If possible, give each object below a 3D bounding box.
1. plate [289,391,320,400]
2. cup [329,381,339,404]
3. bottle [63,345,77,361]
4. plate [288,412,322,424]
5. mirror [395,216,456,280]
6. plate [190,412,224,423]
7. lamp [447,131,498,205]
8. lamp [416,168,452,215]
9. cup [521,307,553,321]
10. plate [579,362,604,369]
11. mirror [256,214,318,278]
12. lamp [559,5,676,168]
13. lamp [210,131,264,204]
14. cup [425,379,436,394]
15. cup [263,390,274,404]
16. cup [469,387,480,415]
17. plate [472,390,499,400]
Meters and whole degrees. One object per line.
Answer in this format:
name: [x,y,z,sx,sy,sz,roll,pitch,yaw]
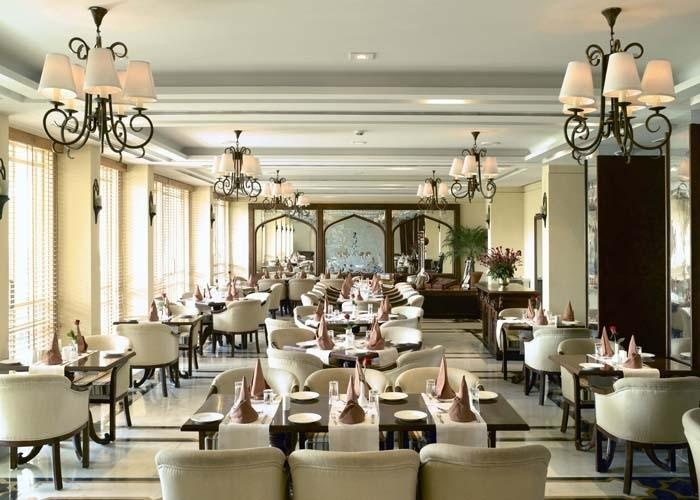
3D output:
plate: [-0.411,1.354,5.407,0.256,0.034,0.186,0,4,-5]
cup: [-0.138,1.273,5.169,0.073,0.204,0.153,-1,4,-7]
bottle: [-3.159,1.181,6.690,0.151,0.182,0.151,2,-5,-29]
plate: [-0.365,1.407,4.889,0.277,0.023,0.176,-1,4,-7]
mirror: [2.101,-0.122,21.592,2.860,0.097,3.042,3,42,4]
plate: [-1.174,1.406,4.904,0.276,0.036,0.186,0,4,0]
lamp: [2.373,-1.625,11.458,1.053,1.777,1.191,1,-6,-2]
lamp: [2.141,-1.540,15.100,1.064,1.497,1.117,0,-3,3]
cup: [2.840,1.029,9.072,0.141,0.258,0.472,2,-7,-8]
plate: [2.629,1.277,6.440,0.243,0.015,0.291,1,4,17]
mirror: [-2.318,-0.166,21.357,2.108,2.418,0.083,1,-2,-30]
lamp: [2.733,-1.562,5.976,0.879,1.384,3.322,2,5,27]
lamp: [-2.085,-1.593,10.969,1.003,1.561,0.922,-4,-7,40]
cup: [0.731,1.260,5.319,0.073,0.137,0.159,0,4,8]
cup: [-0.709,1.308,5.209,0.091,0.105,0.096,-1,-3,0]
cup: [1.056,1.296,5.013,0.087,0.199,0.229,1,4,11]
plate: [1.220,1.303,5.353,0.190,0.030,0.199,0,3,17]
